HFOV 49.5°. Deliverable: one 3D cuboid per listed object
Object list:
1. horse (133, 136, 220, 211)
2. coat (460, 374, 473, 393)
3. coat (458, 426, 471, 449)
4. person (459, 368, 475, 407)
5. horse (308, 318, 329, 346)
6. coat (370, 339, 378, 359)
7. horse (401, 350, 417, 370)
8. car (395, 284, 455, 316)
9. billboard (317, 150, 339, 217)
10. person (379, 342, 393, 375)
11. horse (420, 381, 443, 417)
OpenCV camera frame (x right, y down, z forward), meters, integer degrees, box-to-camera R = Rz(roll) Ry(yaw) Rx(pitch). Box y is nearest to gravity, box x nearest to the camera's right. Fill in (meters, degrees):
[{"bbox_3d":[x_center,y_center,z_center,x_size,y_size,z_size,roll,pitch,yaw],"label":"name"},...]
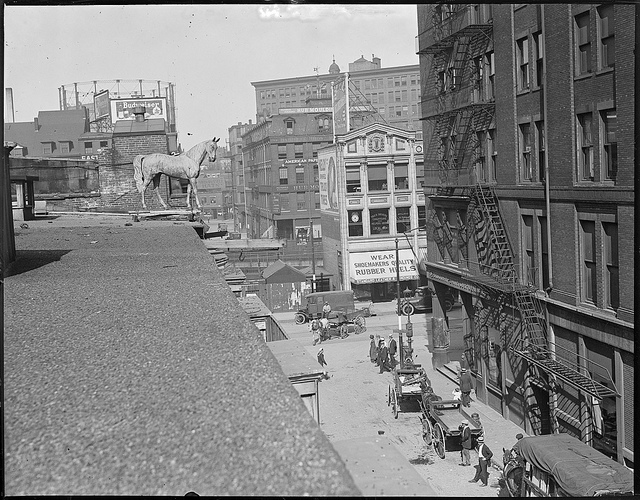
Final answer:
[{"bbox_3d":[-5.316,-2.747,25.494,3.054,2.839,1.770,11,6,21],"label":"horse"},{"bbox_3d":[5.290,4.844,25.193,0.428,0.447,0.260,6,6,-22],"label":"coat"},{"bbox_3d":[4.085,5.243,19.660,0.247,0.438,0.628,7,6,-3],"label":"coat"},{"bbox_3d":[5.346,4.951,25.344,0.432,1.477,0.345,-3,18,17],"label":"person"},{"bbox_3d":[-0.060,4.414,38.225,0.816,1.221,2.654,7,6,-3],"label":"horse"},{"bbox_3d":[2.474,4.628,31.856,0.338,0.806,0.341,8,5,6],"label":"coat"},{"bbox_3d":[3.655,4.565,28.582,0.624,0.949,0.554,0,-1,13],"label":"horse"},{"bbox_3d":[7.115,2.875,44.633,3.819,1.980,2.162,-9,11,33],"label":"car"},{"bbox_3d":[0.669,-5.233,53.501,1.745,5.046,5.393,-2,-6,-8],"label":"billboard"},{"bbox_3d":[2.909,4.878,30.881,0.632,0.793,1.175,8,6,5],"label":"person"},{"bbox_3d":[3.636,4.805,22.883,0.633,0.603,3.049,9,6,6],"label":"horse"}]
